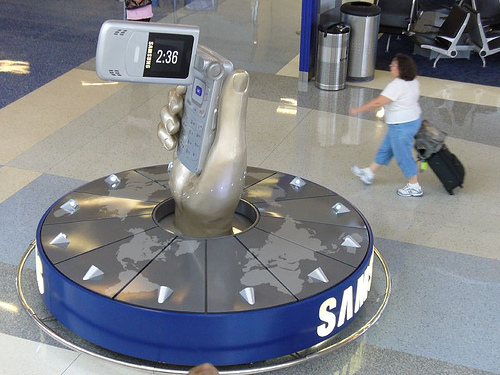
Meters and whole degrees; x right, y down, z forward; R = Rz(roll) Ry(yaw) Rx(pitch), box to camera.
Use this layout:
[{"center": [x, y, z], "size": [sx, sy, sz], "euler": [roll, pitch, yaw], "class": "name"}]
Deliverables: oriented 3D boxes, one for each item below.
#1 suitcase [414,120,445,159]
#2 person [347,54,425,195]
[{"center": [2.145, -0.569, 5.305], "size": [0.355, 0.451, 0.182], "euler": [32, 38, 32], "class": "suitcase"}, {"center": [1.976, -0.951, 5.725], "size": [1.002, 1.608, 1.492], "euler": [14, 30, 21], "class": "person"}]
